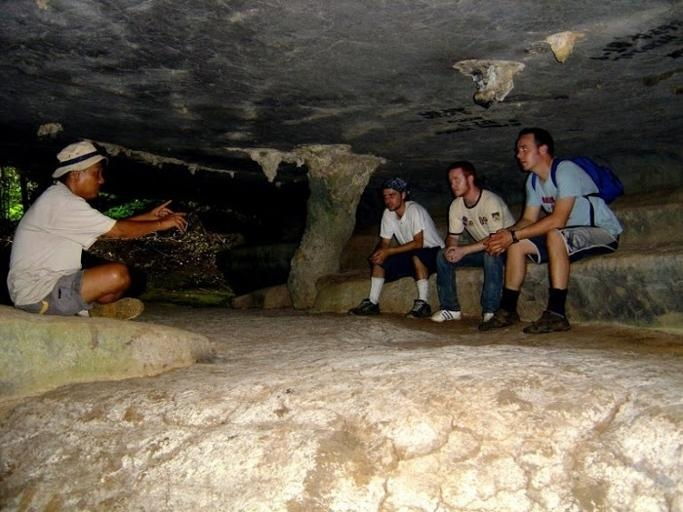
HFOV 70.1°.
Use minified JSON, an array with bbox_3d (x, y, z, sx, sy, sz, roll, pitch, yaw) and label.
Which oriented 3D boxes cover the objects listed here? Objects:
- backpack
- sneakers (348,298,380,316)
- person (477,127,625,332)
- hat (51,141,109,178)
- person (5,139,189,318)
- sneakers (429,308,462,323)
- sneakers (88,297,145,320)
[{"bbox_3d":[1.742,-0.542,3.649,0.590,0.386,0.290,-20,20,11],"label":"backpack"},{"bbox_3d":[0.238,0.517,4.765,0.369,0.100,0.128,3,-4,-15],"label":"sneakers"},{"bbox_3d":[1.545,-0.194,3.613,0.893,1.337,0.530,-5,0,-23],"label":"person"},{"bbox_3d":[-1.819,-0.681,3.387,0.449,0.154,0.361,0,12,35],"label":"hat"},{"bbox_3d":[-1.800,-0.154,3.374,0.967,1.272,0.613,-5,0,-30],"label":"person"},{"bbox_3d":[0.903,0.528,4.219,0.299,0.081,0.096,2,-4,-15],"label":"sneakers"},{"bbox_3d":[-1.744,0.414,3.694,0.348,0.072,0.264,-3,13,-9],"label":"sneakers"}]
